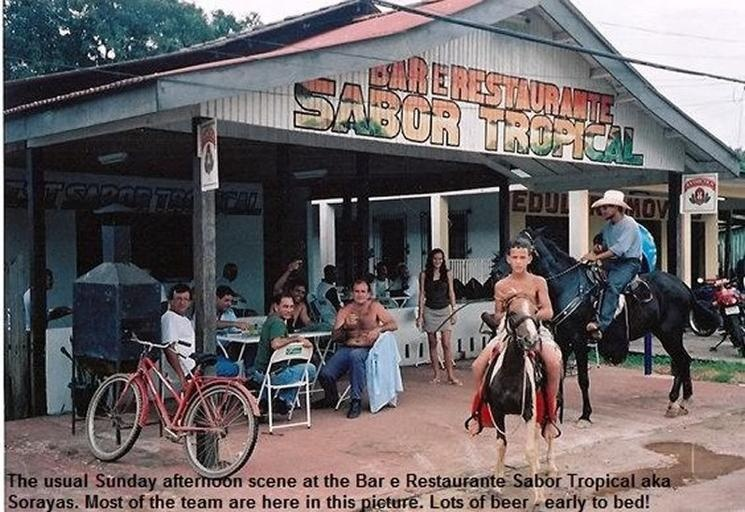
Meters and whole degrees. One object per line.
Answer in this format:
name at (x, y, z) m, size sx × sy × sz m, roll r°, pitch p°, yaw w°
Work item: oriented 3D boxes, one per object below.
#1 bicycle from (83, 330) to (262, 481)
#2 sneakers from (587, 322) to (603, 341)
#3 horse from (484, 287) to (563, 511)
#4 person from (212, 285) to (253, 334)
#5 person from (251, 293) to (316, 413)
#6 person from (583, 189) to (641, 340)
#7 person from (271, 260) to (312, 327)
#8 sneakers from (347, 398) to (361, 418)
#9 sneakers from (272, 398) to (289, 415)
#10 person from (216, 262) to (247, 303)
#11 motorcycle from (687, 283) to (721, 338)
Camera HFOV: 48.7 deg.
bicycle at (-2.562, 1.876, 10.932) m, size 2.856 × 1.601 × 1.500 m, roll 5°, pitch 8°, yaw 32°
sneakers at (3.363, 1.141, 12.520) m, size 0.162 × 0.324 × 0.153 m, roll 0°, pitch 47°, yaw 22°
horse at (1.710, 1.662, 9.792) m, size 0.881 × 2.438 × 0.797 m, roll 2°, pitch 7°, yaw 14°
person at (-2.396, 0.849, 13.967) m, size 0.719 × 0.801 × 0.540 m, roll 0°, pitch 5°, yaw 9°
person at (-1.360, 1.519, 12.352) m, size 0.938 × 1.856 × 0.904 m, roll -1°, pitch 7°, yaw -14°
person at (3.692, 0.122, 12.727) m, size 0.804 × 2.242 × 0.989 m, roll 2°, pitch 7°, yaw 18°
person at (-1.518, 0.679, 14.981) m, size 0.730 × 1.483 × 0.886 m, roll -4°, pitch -7°, yaw 31°
sneakers at (-0.306, 2.316, 12.757) m, size 0.234 × 0.270 × 0.472 m, roll 0°, pitch 7°, yaw -1°
sneakers at (-1.406, 2.264, 12.477) m, size 0.264 × 0.297 × 0.220 m, roll 0°, pitch 7°, yaw -11°
person at (-3.015, 0.534, 17.373) m, size 0.697 × 1.155 × 0.764 m, roll -4°, pitch 9°, yaw -18°
motorcycle at (6.553, 1.073, 16.307) m, size 0.818 × 1.313 × 0.362 m, roll 0°, pitch 14°, yaw 19°
